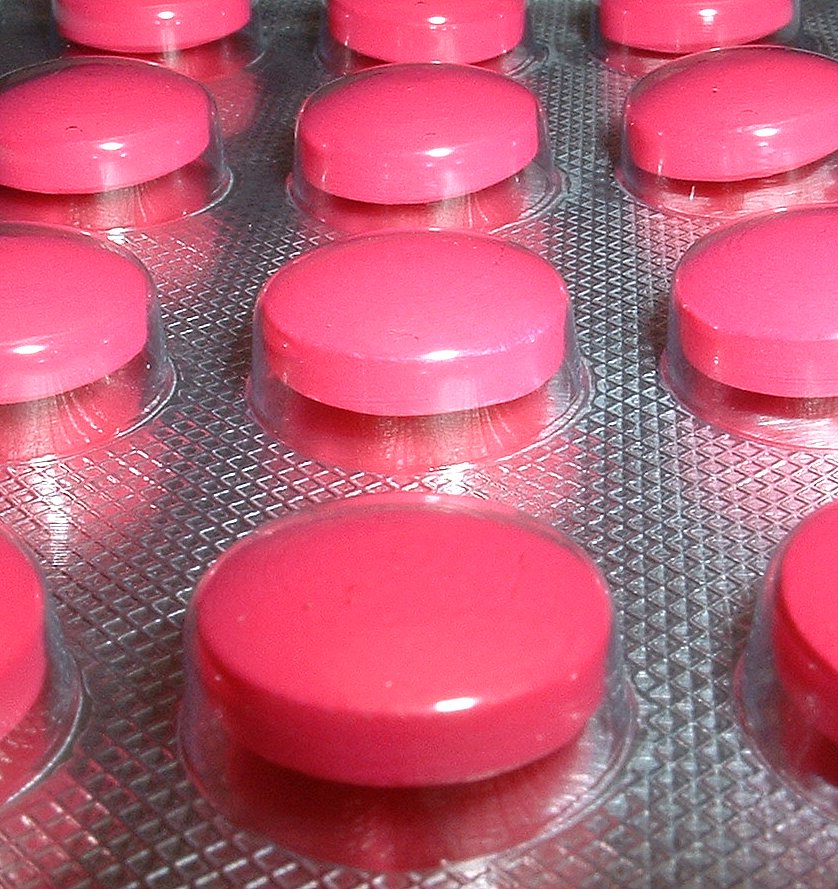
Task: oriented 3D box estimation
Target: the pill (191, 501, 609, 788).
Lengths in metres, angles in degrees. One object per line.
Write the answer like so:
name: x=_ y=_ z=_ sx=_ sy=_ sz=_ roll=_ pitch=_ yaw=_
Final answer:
pill: x=-0.010 y=0.073 z=0.410 sx=0.158 sy=0.033 sz=0.145 roll=-11 pitch=29 yaw=-21
